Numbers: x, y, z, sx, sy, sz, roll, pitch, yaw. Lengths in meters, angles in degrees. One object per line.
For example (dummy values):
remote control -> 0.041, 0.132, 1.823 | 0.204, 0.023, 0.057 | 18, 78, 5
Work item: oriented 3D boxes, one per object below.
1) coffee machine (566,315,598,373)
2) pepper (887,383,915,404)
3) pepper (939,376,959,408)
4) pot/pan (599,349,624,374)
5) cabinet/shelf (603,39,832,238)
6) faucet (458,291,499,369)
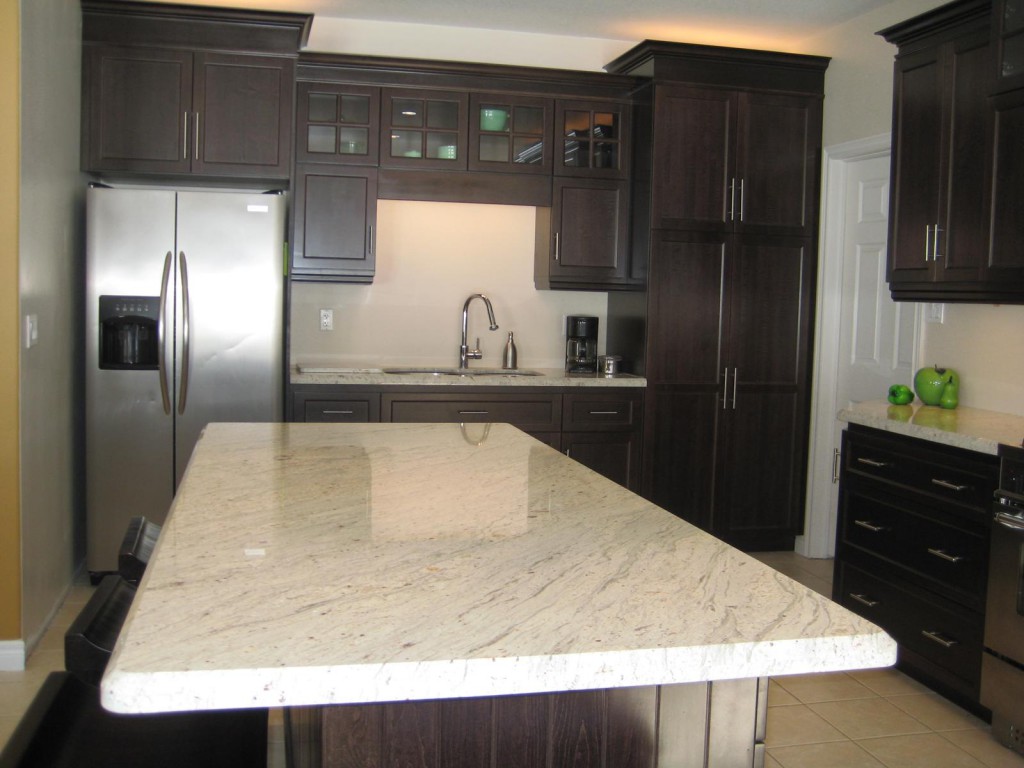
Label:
coffee machine -> 0.435, -0.253, 4.868 | 0.202, 0.350, 0.316 | 1, 9, 4
pepper -> 1.875, 0.051, 3.742 | 0.096, 0.098, 0.226 | 6, 11, 30
pepper -> 2.050, 0.044, 3.629 | 0.078, 0.140, 0.061 | 0, 9, 2
pot/pan -> 0.593, -0.122, 4.772 | 0.108, 0.122, 0.138 | 7, 11, 33
cabinet/shelf -> 1.211, -1.335, 4.862 | 1.280, 1.225, 0.806 | -2, 6, -18
faucet -> -0.216, -0.336, 4.926 | 0.266, 0.468, 0.208 | -1, 9, -3
